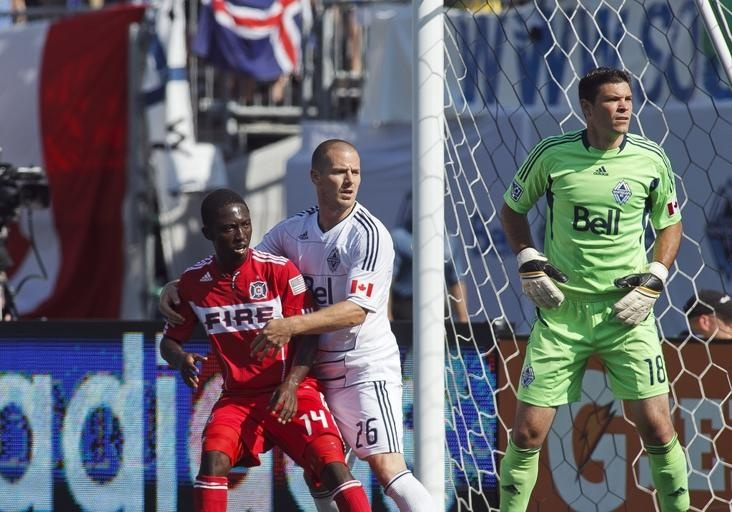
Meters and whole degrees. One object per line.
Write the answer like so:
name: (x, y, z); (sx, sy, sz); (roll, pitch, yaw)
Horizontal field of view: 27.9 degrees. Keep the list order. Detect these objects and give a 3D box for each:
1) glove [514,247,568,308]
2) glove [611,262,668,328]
glove: (1.259, 0.159, 10.776); (0.182, 0.402, 0.345); (-33, 13, -11)
glove: (1.987, 0.257, 10.617); (0.304, 0.443, 0.167); (25, 1, -3)
